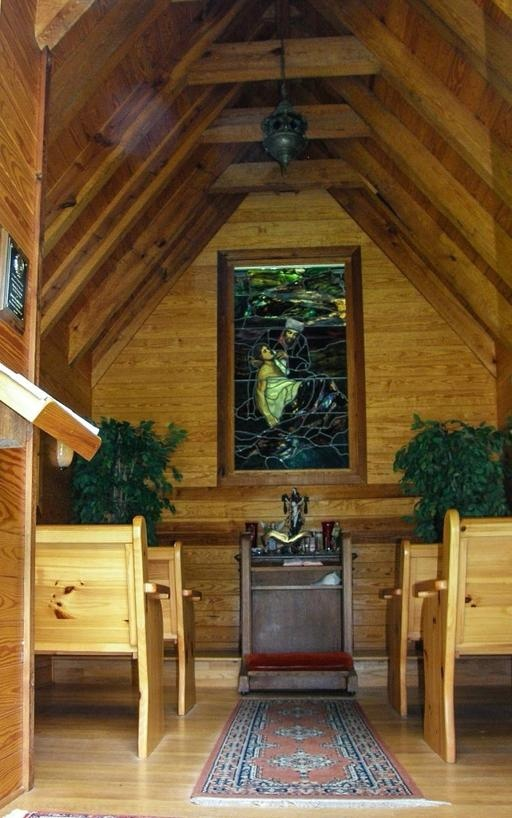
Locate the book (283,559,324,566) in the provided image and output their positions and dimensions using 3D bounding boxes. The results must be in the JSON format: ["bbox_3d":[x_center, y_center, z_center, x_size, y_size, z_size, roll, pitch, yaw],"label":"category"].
[{"bbox_3d":[0.284,0.945,4.510,0.211,0.027,0.046,0,9,4],"label":"book"}]

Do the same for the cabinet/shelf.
[{"bbox_3d":[0.254,1.236,4.548,0.741,0.972,0.723,0,-12,-1],"label":"cabinet/shelf"}]

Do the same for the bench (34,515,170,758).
[{"bbox_3d":[-0.661,0.893,2.932,0.628,0.778,0.551,-2,-16,0],"label":"bench"}]

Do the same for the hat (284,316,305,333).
[{"bbox_3d":[0.293,-0.636,5.529,0.104,0.075,0.122,29,-5,-16],"label":"hat"}]
